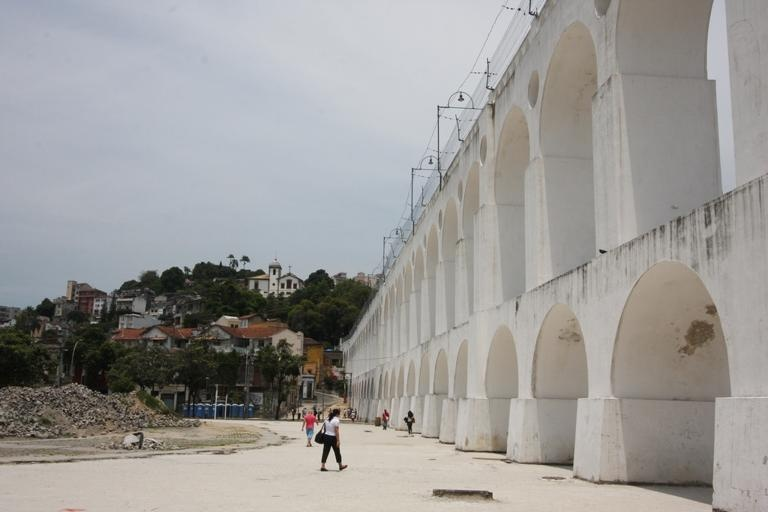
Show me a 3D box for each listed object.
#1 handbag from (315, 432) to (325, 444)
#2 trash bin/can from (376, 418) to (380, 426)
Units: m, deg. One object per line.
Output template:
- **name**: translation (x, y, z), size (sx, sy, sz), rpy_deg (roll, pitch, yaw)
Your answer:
- **handbag**: translation (-1.703, 4.775, 24.873), size (0.266, 0.281, 0.617), rpy_deg (-7, 0, -8)
- **trash bin/can**: translation (-0.372, 9.601, 54.781), size (0.418, 0.520, 0.438), rpy_deg (2, -3, -2)
